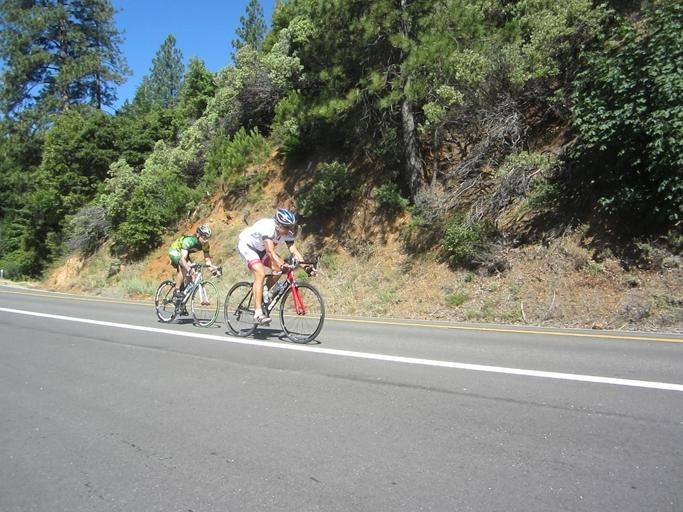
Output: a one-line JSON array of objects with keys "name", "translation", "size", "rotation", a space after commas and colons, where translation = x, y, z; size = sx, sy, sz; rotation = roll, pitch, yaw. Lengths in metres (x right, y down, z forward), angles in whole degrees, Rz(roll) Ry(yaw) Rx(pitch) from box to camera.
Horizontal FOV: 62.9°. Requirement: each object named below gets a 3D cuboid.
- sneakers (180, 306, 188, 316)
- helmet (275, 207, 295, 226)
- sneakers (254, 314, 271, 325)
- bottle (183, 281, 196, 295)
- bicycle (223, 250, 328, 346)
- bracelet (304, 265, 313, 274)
[{"name": "sneakers", "translation": [-3.449, 1.201, 12.402], "size": [0.162, 0.193, 0.165], "rotation": [2, 0, -42]}, {"name": "helmet", "translation": [-0.988, -0.676, 9.909], "size": [0.330, 0.322, 0.373], "rotation": [-4, 11, -12]}, {"name": "sneakers", "translation": [-1.407, 1.154, 10.060], "size": [0.139, 0.198, 0.324], "rotation": [3, -15, -42]}, {"name": "bottle", "translation": [-3.291, 0.688, 12.250], "size": [0.218, 0.350, 0.116], "rotation": [1, -30, 35]}, {"name": "bicycle", "translation": [-1.282, 0.760, 10.245], "size": [1.946, 1.637, 0.789], "rotation": [2, -7, 19]}, {"name": "bracelet", "translation": [-0.584, 0.226, 9.911], "size": [0.146, 0.043, 0.137], "rotation": [56, -13, -31]}]
